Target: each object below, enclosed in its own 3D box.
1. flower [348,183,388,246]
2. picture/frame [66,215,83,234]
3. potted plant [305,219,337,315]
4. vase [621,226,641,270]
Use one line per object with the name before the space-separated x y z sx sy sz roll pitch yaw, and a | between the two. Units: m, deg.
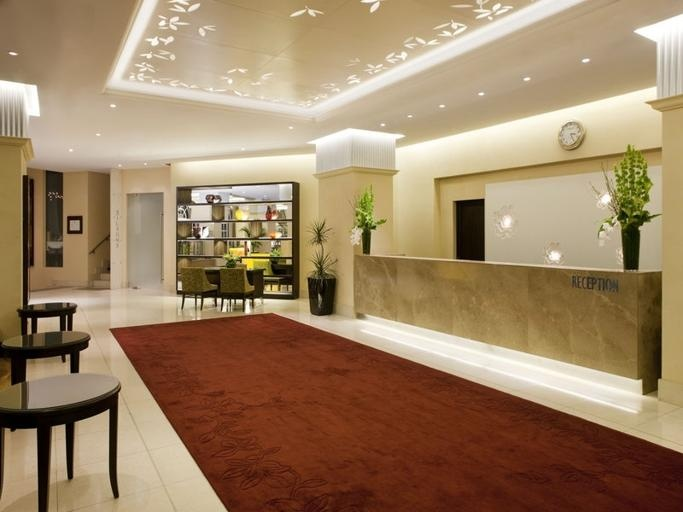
flower | 0.539 -0.781 9.018 0.660 1.428 0.704 -2 2 5
picture/frame | -9.105 -1.073 14.692 0.594 0.717 0.070 1 3 4
potted plant | -0.468 0.234 9.745 0.612 2.155 0.709 -3 2 -20
vase | 3.426 -0.105 5.093 0.173 0.537 0.245 -1 2 33
